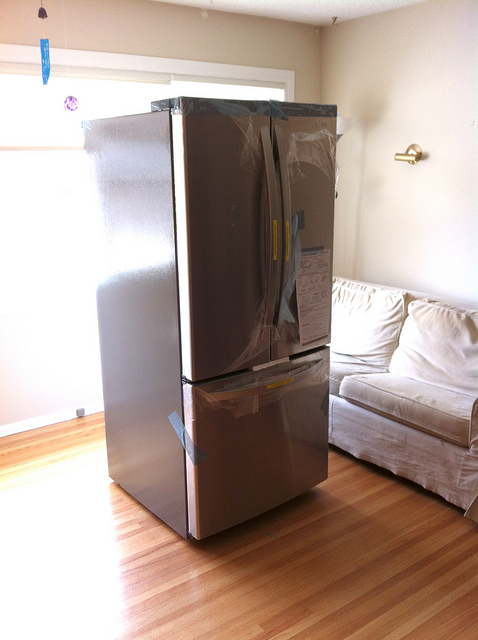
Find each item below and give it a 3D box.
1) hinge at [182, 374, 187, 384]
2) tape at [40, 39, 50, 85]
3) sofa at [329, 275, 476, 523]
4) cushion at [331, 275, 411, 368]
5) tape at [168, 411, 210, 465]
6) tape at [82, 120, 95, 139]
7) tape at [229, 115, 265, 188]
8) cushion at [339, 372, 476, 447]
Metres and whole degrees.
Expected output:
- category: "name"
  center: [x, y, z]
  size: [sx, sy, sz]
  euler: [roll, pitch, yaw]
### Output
- category: "hinge"
  center: [-0.195, 0.214, 1.862]
  size: [0.028, 0.022, 0.005]
  euler: [6, 9, 11]
- category: "tape"
  center: [-0.958, -1.275, 2.599]
  size: [0.039, 0.220, 0.153]
  euler: [-5, 11, -19]
- category: "sofa"
  center: [1.021, 0.350, 2.774]
  size: [0.662, 0.967, 0.952]
  euler: [-10, 21, -29]
- category: "cushion"
  center: [0.766, 0.003, 3.053]
  size: [0.158, 0.544, 0.521]
  euler: [8, 5, -35]
- category: "tape"
  center: [-0.193, 0.422, 1.919]
  size: [0.174, 0.171, 0.058]
  euler: [8, 14, 40]
- category: "tape"
  center: [-0.609, -0.778, 2.116]
  size: [0.066, 0.068, 0.016]
  euler: [23, 43, 26]
- category: "tape"
  center: [0.024, -0.561, 1.749]
  size: [0.081, 0.202, 0.094]
  euler: [-10, 24, -26]
- category: "cushion"
  center: [0.845, 0.388, 2.478]
  size: [0.327, 0.130, 0.751]
  euler: [-8, 13, -31]
